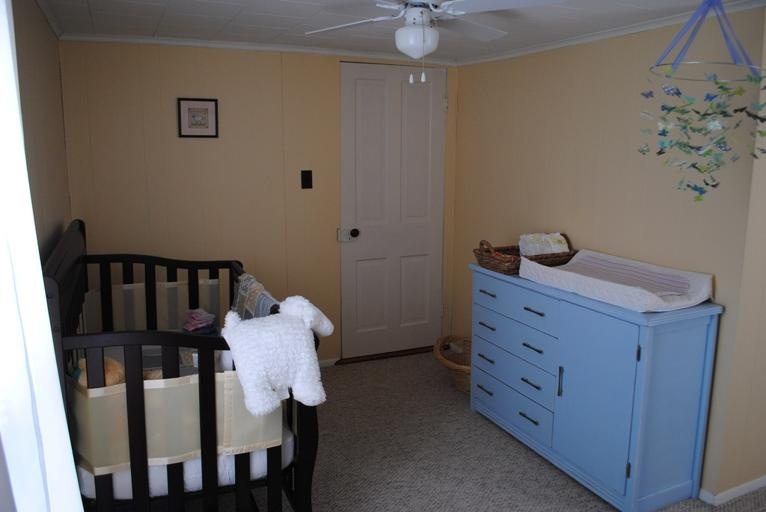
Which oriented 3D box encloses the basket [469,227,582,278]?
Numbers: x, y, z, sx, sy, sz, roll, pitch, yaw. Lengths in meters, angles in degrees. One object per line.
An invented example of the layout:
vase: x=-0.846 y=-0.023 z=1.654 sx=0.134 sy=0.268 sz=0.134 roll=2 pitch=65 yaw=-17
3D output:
basket: x=0.997 y=0.003 z=3.728 sx=0.481 sy=0.182 sz=0.355 roll=-6 pitch=13 yaw=-28

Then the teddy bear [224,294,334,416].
teddy bear: x=-0.480 y=0.441 z=2.506 sx=0.487 sy=0.513 sz=0.179 roll=-14 pitch=1 yaw=-19

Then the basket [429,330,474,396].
basket: x=0.553 y=0.846 z=4.431 sx=0.320 sy=0.171 sz=0.462 roll=-1 pitch=12 yaw=-5

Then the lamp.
lamp: x=0.177 y=-1.165 z=2.841 sx=0.208 sy=0.244 sz=0.123 roll=-2 pitch=12 yaw=4

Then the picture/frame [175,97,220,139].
picture/frame: x=-1.405 y=-1.047 z=4.125 sx=0.301 sy=0.321 sz=0.023 roll=-2 pitch=8 yaw=-15

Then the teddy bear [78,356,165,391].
teddy bear: x=-1.239 y=0.527 z=2.552 sx=0.244 sy=0.078 sz=0.187 roll=2 pitch=18 yaw=-14
